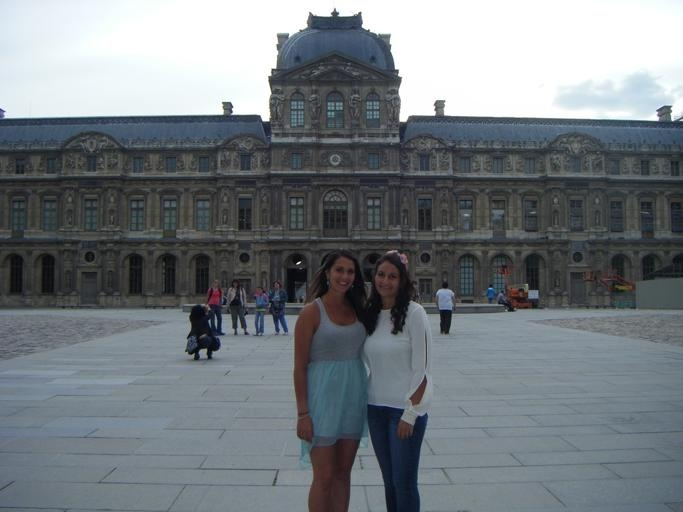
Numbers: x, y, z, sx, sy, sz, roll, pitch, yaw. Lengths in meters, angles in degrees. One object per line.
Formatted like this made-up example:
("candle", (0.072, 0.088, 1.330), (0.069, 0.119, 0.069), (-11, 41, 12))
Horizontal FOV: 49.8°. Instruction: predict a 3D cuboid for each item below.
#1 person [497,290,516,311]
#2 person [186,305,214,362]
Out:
("person", (9.818, 2.872, 43.731), (0.715, 0.815, 1.427), (-3, -34, 31))
("person", (-3.714, 1.987, 19.415), (0.752, 1.462, 0.983), (-2, 0, -12))
